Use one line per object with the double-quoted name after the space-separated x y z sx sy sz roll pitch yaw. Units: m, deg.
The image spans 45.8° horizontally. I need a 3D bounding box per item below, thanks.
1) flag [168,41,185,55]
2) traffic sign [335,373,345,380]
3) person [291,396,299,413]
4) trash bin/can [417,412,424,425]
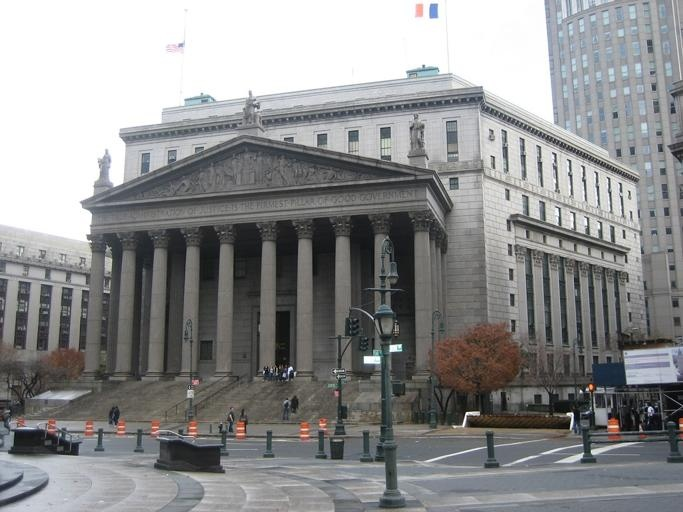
-18.643 -23.552 90.866 1.806 1.373 0.668 3 -14 -17 "flag"
-0.231 8.545 56.798 0.915 0.538 0.908 -4 -9 20 "traffic sign"
-3.633 11.943 64.571 0.609 1.381 1.690 0 -13 -4 "person"
6.339 12.884 63.903 0.903 0.821 0.634 1 -21 -2 "trash bin/can"
